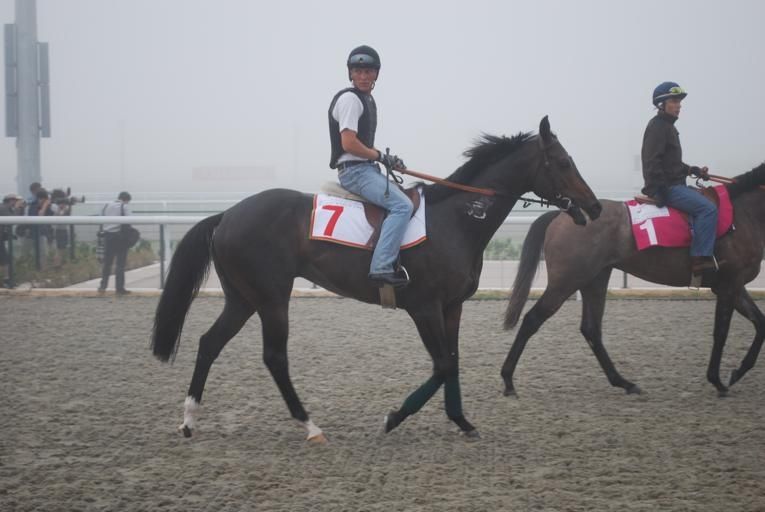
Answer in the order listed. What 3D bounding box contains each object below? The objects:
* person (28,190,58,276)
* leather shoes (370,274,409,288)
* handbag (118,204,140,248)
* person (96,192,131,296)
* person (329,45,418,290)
[{"bbox_3d":[-5.169,-0.398,11.858,0.365,0.987,1.284,-6,15,-24],"label":"person"},{"bbox_3d":[0.060,0.189,6.087,0.340,0.135,0.112,7,2,0],"label":"leather shoes"},{"bbox_3d":[-3.691,-0.308,11.315,0.238,0.316,0.121,16,18,31],"label":"handbag"},{"bbox_3d":[-3.964,-0.130,11.488,0.484,1.252,0.713,-3,14,-14],"label":"person"},{"bbox_3d":[-0.062,-0.721,6.149,0.549,1.800,0.840,-5,15,-20],"label":"person"}]
